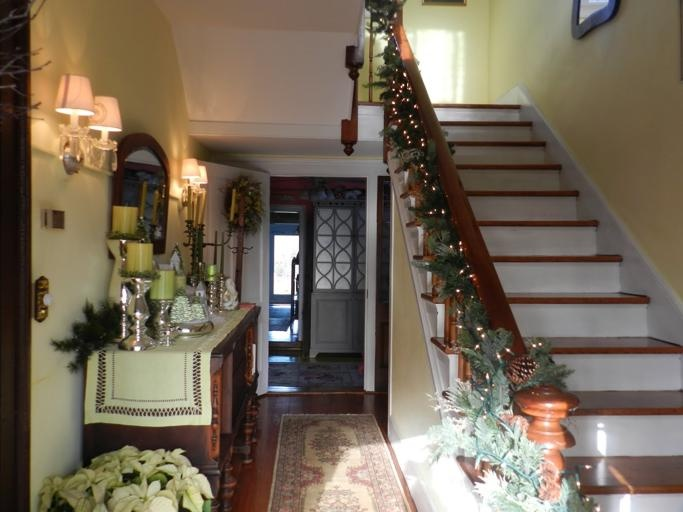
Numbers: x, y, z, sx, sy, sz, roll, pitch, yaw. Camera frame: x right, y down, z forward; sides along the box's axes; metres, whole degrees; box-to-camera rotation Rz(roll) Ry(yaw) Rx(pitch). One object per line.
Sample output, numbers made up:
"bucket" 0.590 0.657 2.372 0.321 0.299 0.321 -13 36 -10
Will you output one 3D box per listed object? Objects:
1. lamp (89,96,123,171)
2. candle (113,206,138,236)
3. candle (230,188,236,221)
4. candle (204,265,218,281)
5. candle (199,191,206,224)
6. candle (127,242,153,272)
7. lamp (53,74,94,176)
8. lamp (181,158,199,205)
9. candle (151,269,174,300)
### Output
"lamp" -1.326 -0.684 3.226 0.171 0.407 0.174 6 3 30
"candle" -1.269 -0.202 3.410 0.154 0.193 0.159 -1 4 -22
"candle" -1.006 -0.475 5.378 0.067 0.307 0.397 -1 4 -11
"candle" -1.009 0.141 4.516 0.053 0.124 0.098 2 4 29
"candle" -1.113 -0.386 4.579 0.059 0.263 0.333 -1 4 -15
"candle" -1.123 0.011 3.199 0.140 0.177 0.148 0 2 -12
"lamp" -1.399 -0.671 3.027 0.185 0.489 0.353 -2 4 -27
"lamp" -1.196 -0.580 4.536 0.151 0.364 0.157 3 16 -3
"candle" -1.035 0.165 3.382 0.144 0.185 0.154 2 6 10
